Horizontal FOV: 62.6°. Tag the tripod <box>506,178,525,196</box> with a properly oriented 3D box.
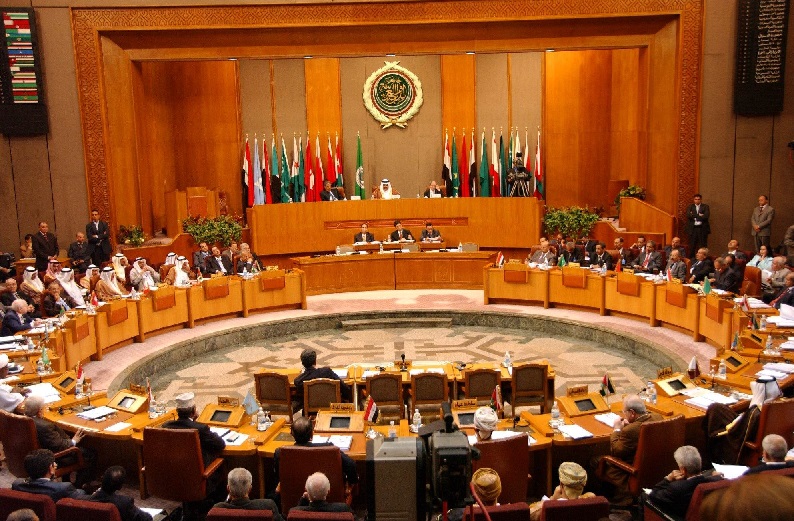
[{"bbox_3d":[3.704,-2.314,20.269,0.573,0.562,0.674,-4,13,-1],"label":"tripod"}]

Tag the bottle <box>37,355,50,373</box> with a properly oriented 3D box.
[{"bbox_3d":[-5.911,1.749,10.979,0.183,0.220,0.366,-11,15,-30],"label":"bottle"}]

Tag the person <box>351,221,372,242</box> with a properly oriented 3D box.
[{"bbox_3d":[-1.028,-0.862,19.196,0.599,1.001,0.542,-1,-7,-3],"label":"person"}]

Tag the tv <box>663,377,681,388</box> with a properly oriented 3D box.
[{"bbox_3d":[4.229,1.883,10.058,0.263,0.100,0.175,-4,13,-4],"label":"tv"}]

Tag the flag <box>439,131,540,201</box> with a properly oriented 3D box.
[{"bbox_3d":[2.980,-3.201,21.306,3.201,2.163,3.103,-1,14,10],"label":"flag"}]

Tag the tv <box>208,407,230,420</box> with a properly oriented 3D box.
[{"bbox_3d":[-2.607,2.266,9.660,0.277,0.115,0.165,0,14,15],"label":"tv"}]

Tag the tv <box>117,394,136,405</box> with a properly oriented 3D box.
[{"bbox_3d":[-4.116,2.135,10.012,0.259,0.082,0.155,3,15,26],"label":"tv"}]

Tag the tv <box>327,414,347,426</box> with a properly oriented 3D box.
[{"bbox_3d":[-0.851,2.314,9.451,0.292,0.115,0.210,-2,13,5],"label":"tv"}]

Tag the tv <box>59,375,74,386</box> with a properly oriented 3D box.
[{"bbox_3d":[-5.384,1.962,10.704,0.193,0.047,0.373,-8,14,-18],"label":"tv"}]

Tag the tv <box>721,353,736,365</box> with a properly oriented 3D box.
[{"bbox_3d":[5.399,1.616,10.665,0.169,0.064,0.319,-3,14,1],"label":"tv"}]

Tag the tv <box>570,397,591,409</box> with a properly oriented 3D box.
[{"bbox_3d":[2.745,2.127,9.778,0.275,0.112,0.199,-8,14,-17],"label":"tv"}]

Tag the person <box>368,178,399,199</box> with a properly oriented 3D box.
[{"bbox_3d":[-0.479,-2.175,20.427,0.707,0.661,1.026,-1,6,-3],"label":"person"}]

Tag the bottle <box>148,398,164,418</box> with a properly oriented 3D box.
[{"bbox_3d":[-3.633,2.228,9.846,0.181,0.237,0.223,2,-5,0],"label":"bottle"}]

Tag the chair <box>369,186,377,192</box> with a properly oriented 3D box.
[{"bbox_3d":[-0.715,-2.217,20.390,0.182,0.245,0.192,0,3,-3],"label":"chair"}]

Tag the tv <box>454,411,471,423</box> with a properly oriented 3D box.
[{"bbox_3d":[0.939,2.266,9.425,0.240,0.129,0.187,-4,13,-3],"label":"tv"}]

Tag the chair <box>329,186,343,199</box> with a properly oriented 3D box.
[{"bbox_3d":[-1.868,-2.128,20.399,0.341,0.517,0.421,0,-3,-11],"label":"chair"}]
